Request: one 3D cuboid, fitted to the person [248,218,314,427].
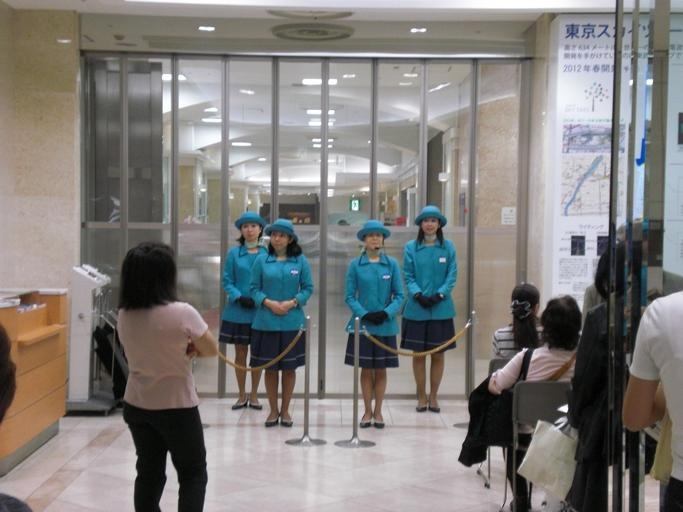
[{"bbox_3d":[-0.606,0.655,6.775,0.608,2.049,0.439,0,3,-8],"label":"person"}]

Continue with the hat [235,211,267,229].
[{"bbox_3d":[-0.984,-0.403,7.285,0.232,0.087,0.209,5,-15,-27],"label":"hat"}]

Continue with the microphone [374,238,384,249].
[{"bbox_3d":[0.394,-0.138,7.000,0.084,0.099,0.108,-2,9,2],"label":"microphone"}]

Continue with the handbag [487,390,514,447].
[{"bbox_3d":[1.079,1.096,4.572,0.229,0.327,0.116,-1,-1,13],"label":"handbag"}]

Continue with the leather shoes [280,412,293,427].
[{"bbox_3d":[-0.555,1.634,6.734,0.103,0.125,0.317,0,-6,-6],"label":"leather shoes"}]

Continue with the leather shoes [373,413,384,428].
[{"bbox_3d":[0.380,1.630,6.748,0.116,0.131,0.200,1,3,2],"label":"leather shoes"}]

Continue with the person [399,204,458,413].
[{"bbox_3d":[0.942,0.569,7.307,0.579,2.227,0.501,1,3,0],"label":"person"}]

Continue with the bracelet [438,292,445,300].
[{"bbox_3d":[1.056,0.414,7.103,0.053,0.059,0.064,2,-9,-12],"label":"bracelet"}]

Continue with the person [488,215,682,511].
[{"bbox_3d":[1.322,0.599,3.271,0.282,1.536,0.840,1,3,9],"label":"person"}]

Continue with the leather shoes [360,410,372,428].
[{"bbox_3d":[0.251,1.640,6.776,0.107,0.126,0.311,-2,-11,7],"label":"leather shoes"}]

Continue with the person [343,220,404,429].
[{"bbox_3d":[0.341,0.659,6.911,0.598,2.060,0.710,1,3,1],"label":"person"}]
